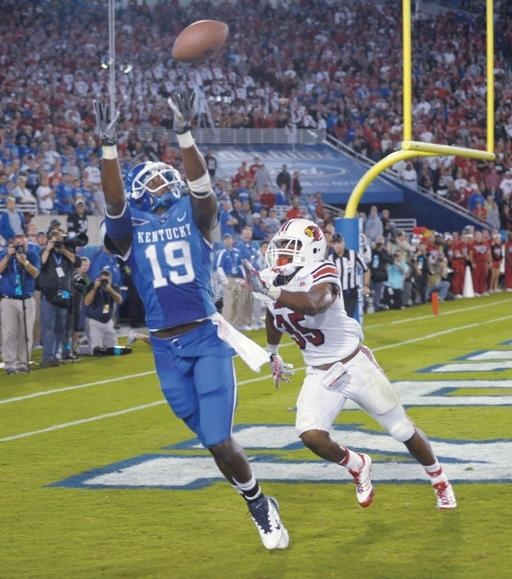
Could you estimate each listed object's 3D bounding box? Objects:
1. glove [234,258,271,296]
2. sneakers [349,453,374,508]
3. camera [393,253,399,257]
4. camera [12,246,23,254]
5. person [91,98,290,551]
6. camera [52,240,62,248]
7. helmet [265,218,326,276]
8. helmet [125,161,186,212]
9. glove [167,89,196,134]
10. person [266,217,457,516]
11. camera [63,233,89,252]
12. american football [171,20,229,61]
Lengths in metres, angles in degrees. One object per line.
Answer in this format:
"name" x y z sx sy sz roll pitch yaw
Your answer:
"glove" -0.026 -0.120 7.055 0.076 0.100 0.253 -42 -13 34
"sneakers" 0.639 1.171 7.606 0.179 0.343 0.123 6 -14 -41
"camera" 2.227 -0.568 19.452 0.051 0.062 0.062 -3 -2 7
"camera" -2.433 -0.428 12.542 0.127 0.101 0.073 -1 6 -14
"person" -0.382 0.185 7.110 1.173 2.569 0.542 5 8 35
"camera" -2.101 -0.501 13.060 0.090 0.083 0.072 -4 8 -40
"helmet" 0.257 -0.290 7.687 0.319 0.299 0.437 3 9 37
"helmet" -0.622 -0.645 7.389 0.299 0.259 0.351 -11 -10 -46
"glove" -0.432 -1.030 7.078 0.152 0.255 0.384 1 6 -5
"person" 0.593 0.458 7.547 1.128 1.767 0.901 1 6 2
"camera" -1.959 -0.521 13.143 0.178 0.117 0.337 1 -6 -34
"american football" -0.424 -1.785 8.781 0.306 0.332 0.580 2 6 10
